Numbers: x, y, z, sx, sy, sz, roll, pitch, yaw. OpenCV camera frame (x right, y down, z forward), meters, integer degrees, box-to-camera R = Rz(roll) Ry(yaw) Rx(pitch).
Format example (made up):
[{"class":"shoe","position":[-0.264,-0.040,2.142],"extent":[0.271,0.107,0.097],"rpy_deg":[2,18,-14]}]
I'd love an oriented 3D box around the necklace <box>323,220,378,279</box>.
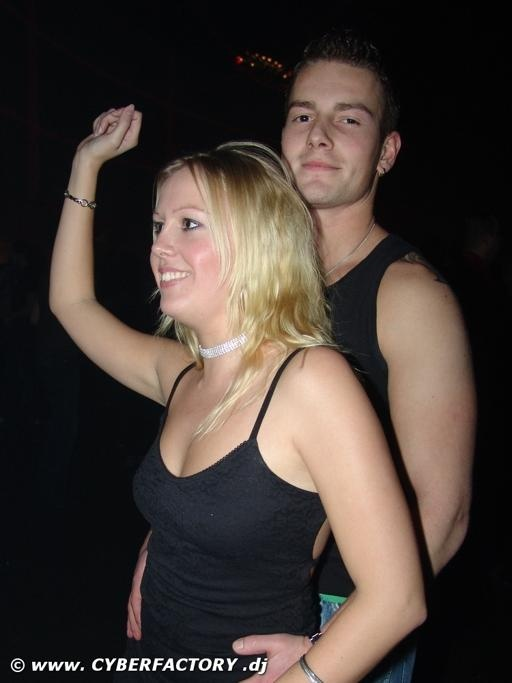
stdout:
[{"class":"necklace","position":[0.267,-0.265,1.957],"extent":[0.016,0.173,0.122],"rpy_deg":[40,34,1]}]

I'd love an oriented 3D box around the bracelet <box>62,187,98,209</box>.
[{"class":"bracelet","position":[-0.573,-0.478,2.157],"extent":[0.124,0.028,0.045],"rpy_deg":[17,15,-6]}]
